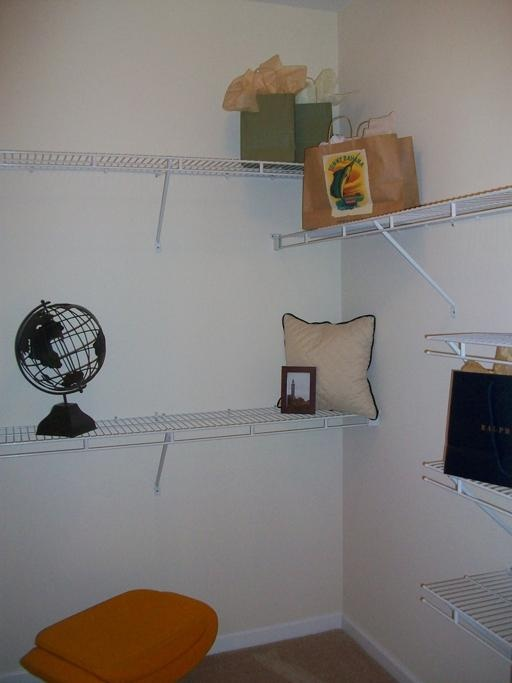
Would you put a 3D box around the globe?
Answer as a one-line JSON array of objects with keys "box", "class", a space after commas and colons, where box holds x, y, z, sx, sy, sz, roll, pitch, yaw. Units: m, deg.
[{"box": [-0.581, 0.078, 1.859, 0.240, 0.396, 0.369, -2, 4, -15], "class": "globe"}]

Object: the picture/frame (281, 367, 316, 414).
[{"box": [0.143, 0.170, 2.090, 0.124, 0.161, 0.006, -1, -5, 23], "class": "picture/frame"}]

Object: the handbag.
[{"box": [0.260, -0.458, 1.747, 0.329, 0.250, 0.070, 2, 5, 32], "class": "handbag"}]

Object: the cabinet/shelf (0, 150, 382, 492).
[{"box": [-0.253, -0.078, 2.047, 1.225, 0.999, 0.388, -3, 13, -21], "class": "cabinet/shelf"}]

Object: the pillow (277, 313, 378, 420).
[{"box": [0.250, 0.093, 2.101, 0.389, 0.374, 0.152, 3, -3, 27], "class": "pillow"}]
